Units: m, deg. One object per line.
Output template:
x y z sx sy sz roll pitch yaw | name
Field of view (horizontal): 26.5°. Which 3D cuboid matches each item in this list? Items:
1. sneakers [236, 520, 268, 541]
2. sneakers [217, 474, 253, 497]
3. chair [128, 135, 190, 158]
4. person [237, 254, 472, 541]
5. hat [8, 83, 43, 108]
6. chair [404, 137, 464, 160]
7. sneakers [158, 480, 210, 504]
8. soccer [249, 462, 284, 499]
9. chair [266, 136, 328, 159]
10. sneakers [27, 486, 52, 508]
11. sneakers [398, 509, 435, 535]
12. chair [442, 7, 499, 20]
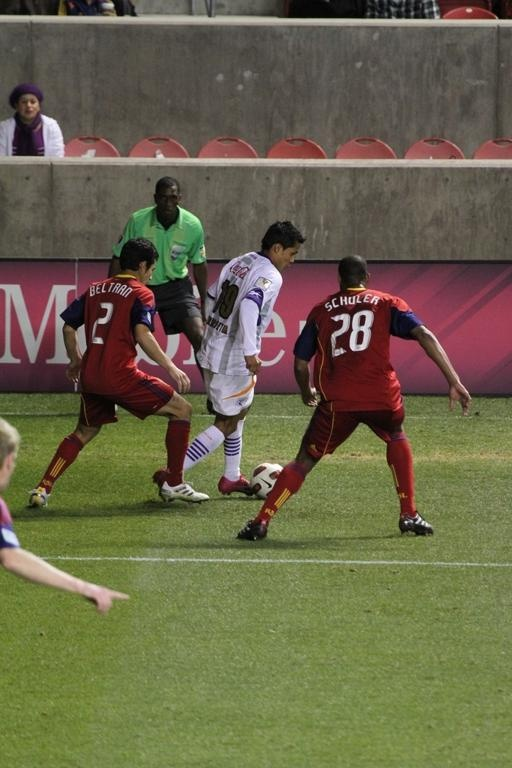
-0.026 0.655 4.906 0.132 0.111 0.153 0 7 -2 | sneakers
-0.127 0.565 6.019 0.257 0.109 0.085 -1 11 -19 | sneakers
-0.985 -2.405 10.868 0.465 0.235 0.370 4 7 27 | chair
0.410 0.053 4.951 0.994 1.288 0.445 0 8 -2 | person
-2.014 -2.527 9.410 0.277 0.132 0.272 -3 5 -6 | hat
1.769 -2.411 10.958 0.554 0.226 0.375 1 7 10 | chair
-0.392 0.567 5.786 0.298 0.124 0.094 2 19 -23 | sneakers
0.046 0.506 5.657 0.166 0.173 0.152 17 58 32 | soccer
0.388 -2.416 10.974 0.553 0.230 0.442 0 6 0 | chair
-1.105 0.571 5.527 0.109 0.104 0.125 15 -11 -3 | sneakers
0.717 0.646 4.958 0.217 0.112 0.074 4 -2 -30 | sneakers
2.429 -4.347 12.579 0.572 0.192 0.341 1 6 5 | chair
